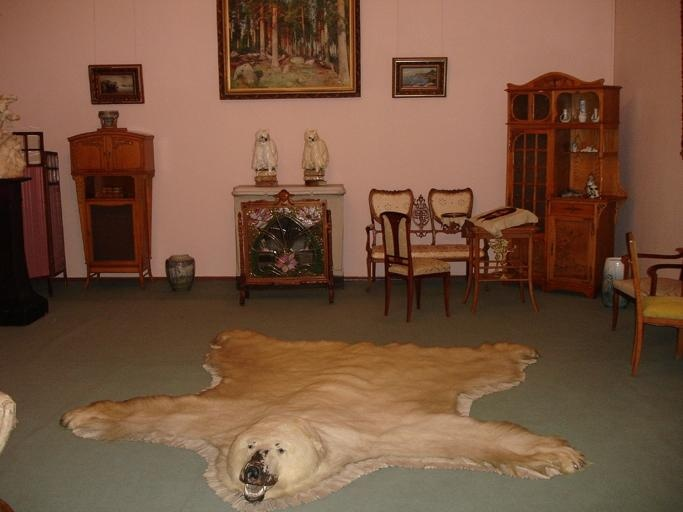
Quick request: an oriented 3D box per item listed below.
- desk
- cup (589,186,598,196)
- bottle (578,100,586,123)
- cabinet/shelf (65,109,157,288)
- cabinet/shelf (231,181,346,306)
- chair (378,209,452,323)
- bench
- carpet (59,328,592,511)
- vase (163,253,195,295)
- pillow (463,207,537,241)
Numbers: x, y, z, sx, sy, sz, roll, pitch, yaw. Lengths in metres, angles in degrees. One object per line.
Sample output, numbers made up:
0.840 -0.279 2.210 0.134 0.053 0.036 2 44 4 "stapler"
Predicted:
1.893 0.104 6.761 0.959 1.412 0.967 -1 8 4 "desk"
3.083 -0.782 6.783 0.179 0.113 0.080 -11 14 -39 "cup"
2.990 -1.797 6.932 0.102 0.295 0.355 2 12 23 "bottle"
-2.991 -0.759 7.358 0.976 2.240 0.593 -2 11 -2 "cabinet/shelf"
-0.627 -0.141 6.736 1.297 1.629 0.698 0 6 -1 "cabinet/shelf"
0.762 0.055 6.128 0.699 1.146 0.754 -8 12 -29 "chair"
1.044 -0.230 6.880 1.168 1.135 0.525 0 8 2 "bench"
-0.035 1.051 4.106 3.293 0.208 2.138 -4 11 -6 "carpet"
-2.097 0.202 7.183 0.389 0.507 0.399 0 0 -22 "vase"
1.792 -0.403 6.207 0.442 0.145 0.460 -18 22 -9 "pillow"
